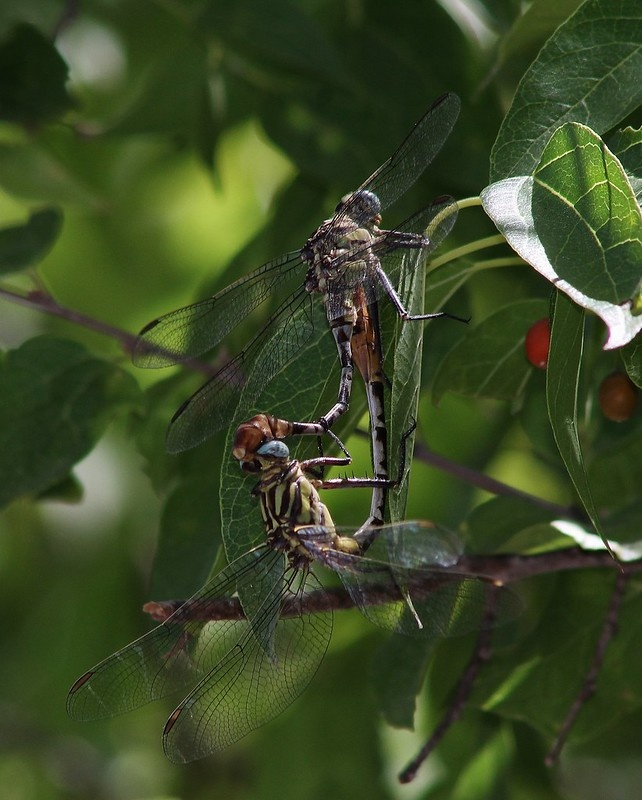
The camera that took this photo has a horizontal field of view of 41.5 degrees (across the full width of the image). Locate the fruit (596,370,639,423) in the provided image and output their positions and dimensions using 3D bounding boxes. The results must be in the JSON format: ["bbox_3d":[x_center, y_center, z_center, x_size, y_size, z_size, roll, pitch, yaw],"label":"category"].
[{"bbox_3d":[0.290,-0.002,0.827,0.033,0.046,0.070,-5,-11,23],"label":"fruit"}]

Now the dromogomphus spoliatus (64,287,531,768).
[{"bbox_3d":[-0.061,0.152,0.648,0.324,0.256,0.203,-5,-12,25],"label":"dromogomphus spoliatus"}]
